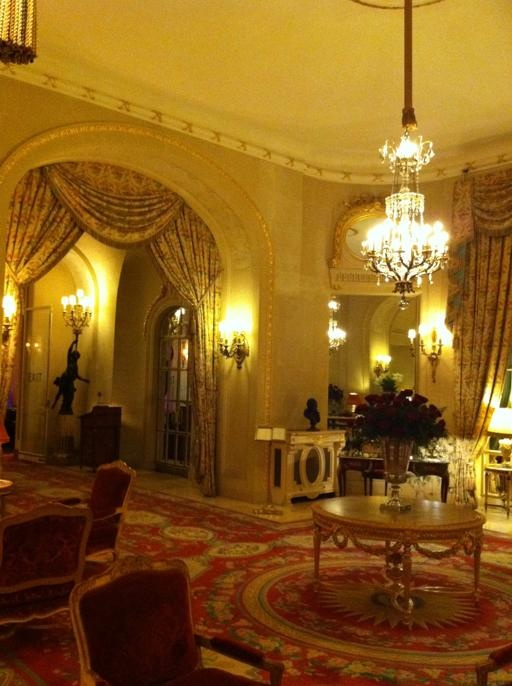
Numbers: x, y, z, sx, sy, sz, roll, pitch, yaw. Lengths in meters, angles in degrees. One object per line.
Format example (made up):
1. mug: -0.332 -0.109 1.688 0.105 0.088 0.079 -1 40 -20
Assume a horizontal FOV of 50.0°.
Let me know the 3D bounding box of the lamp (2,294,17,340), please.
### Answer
1. lamp: -2.852 -0.294 6.326 0.129 0.559 0.308 5 -8 -20

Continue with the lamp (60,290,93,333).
1. lamp: -3.423 -0.597 10.501 0.517 0.860 1.085 5 -7 -16

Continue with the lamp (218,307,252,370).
1. lamp: -0.325 -0.082 7.924 0.265 0.896 0.578 8 -9 -35

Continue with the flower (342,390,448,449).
1. flower: 1.127 0.581 4.202 0.535 0.355 0.524 2 -4 -34

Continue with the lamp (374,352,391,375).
1. lamp: 2.927 0.519 12.749 0.201 0.561 0.657 -2 -8 33

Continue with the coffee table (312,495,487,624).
1. coffee table: 1.086 1.311 3.827 0.914 0.491 1.004 0 1 -28

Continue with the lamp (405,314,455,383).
1. lamp: 2.581 0.101 8.030 0.573 0.949 0.140 -4 -10 44
